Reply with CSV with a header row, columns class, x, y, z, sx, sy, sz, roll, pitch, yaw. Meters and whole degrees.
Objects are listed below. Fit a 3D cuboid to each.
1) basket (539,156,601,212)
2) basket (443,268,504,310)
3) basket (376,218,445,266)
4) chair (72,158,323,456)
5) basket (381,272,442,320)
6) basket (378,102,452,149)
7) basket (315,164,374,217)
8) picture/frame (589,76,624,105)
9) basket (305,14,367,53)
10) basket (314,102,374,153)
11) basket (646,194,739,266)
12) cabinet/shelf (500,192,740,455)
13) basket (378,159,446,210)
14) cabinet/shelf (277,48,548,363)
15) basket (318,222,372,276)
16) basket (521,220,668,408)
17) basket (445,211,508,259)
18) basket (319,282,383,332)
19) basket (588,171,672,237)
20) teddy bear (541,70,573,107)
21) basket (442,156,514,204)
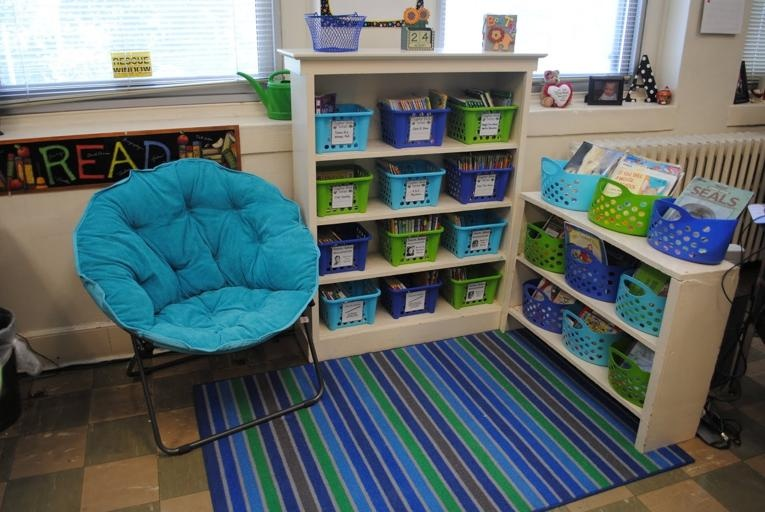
class,x,y,z,sx,sy,sz,roll,pitch,yaw
basket,1.004,-0.415,3.042,0.272,0.212,0.308,-6,23,-26
basket,0.569,0.201,3.433,0.245,0.166,0.327,-3,20,-6
basket,0.228,-0.037,3.411,0.341,0.227,0.455,-5,3,2
chair,-0.887,0.179,2.848,1.098,1.104,1.127,26,35,32
basket,0.180,0.232,3.324,0.260,0.178,0.353,-7,15,-17
basket,0.170,-0.768,3.051,0.263,0.183,0.354,-7,21,-19
basket,-0.229,-0.383,3.116,0.318,0.217,0.314,-4,28,-7
picture/frame,1.453,-1.088,3.550,0.237,0.170,0.171,4,28,8
basket,-0.243,-1.144,2.775,0.292,0.169,0.080,-3,28,-4
basket,-0.236,-0.724,3.089,0.340,0.225,0.453,-2,19,-12
basket,1.418,-0.101,2.599,0.322,0.256,0.362,7,20,-12
cabinet/shelf,1.262,0.376,2.796,0.404,0.871,1.053,-11,34,-25
basket,0.162,-0.452,3.245,0.366,0.230,0.352,-5,28,-7
cabinet/shelf,0.139,-0.317,3.136,1.655,2.048,0.545,-8,30,-15
basket,-0.233,-0.056,3.207,0.306,0.226,0.343,-4,28,-7
basket,1.151,0.317,2.882,0.478,0.597,0.819,-7,30,-14
basket,0.604,-0.116,3.450,0.291,0.192,0.386,8,1,-19
basket,-0.123,0.294,3.258,0.361,0.182,0.261,-1,16,24
basket,1.379,-0.224,2.879,0.444,0.309,0.395,17,1,-44
teddy bear,1.108,-1.064,3.465,0.215,0.229,0.134,-18,23,-29
basket,0.578,-0.463,3.215,0.266,0.194,0.378,-6,23,-12
